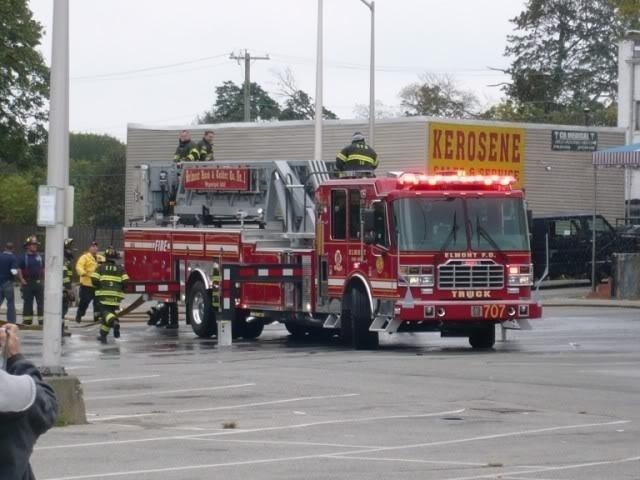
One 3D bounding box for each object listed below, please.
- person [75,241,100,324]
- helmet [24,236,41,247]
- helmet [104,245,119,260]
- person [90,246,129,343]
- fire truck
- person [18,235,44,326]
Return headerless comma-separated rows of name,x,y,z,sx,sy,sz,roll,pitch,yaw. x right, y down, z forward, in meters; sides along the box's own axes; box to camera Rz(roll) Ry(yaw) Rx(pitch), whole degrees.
person,-5.534,0.945,34.237,0.736,2.478,0.604,-1,3,-44
helmet,-6.820,0.035,33.412,0.358,0.214,0.245,-8,-2,23
helmet,-4.519,0.269,30.720,0.223,0.237,0.284,2,14,-4
person,-4.572,1.145,30.746,0.799,1.967,0.853,3,-3,-22
fire truck,-0.408,0.170,31.313,3.924,3.898,11.433,-2,2,-35
person,-6.743,0.923,33.147,0.553,2.092,1.208,1,0,-13
